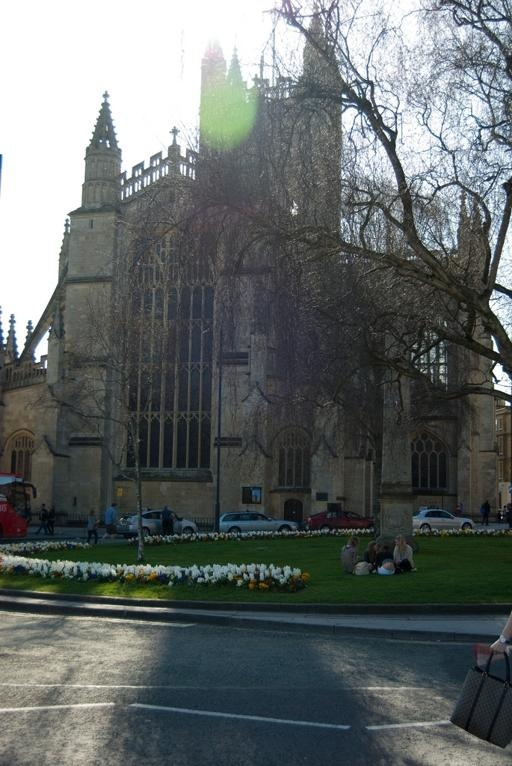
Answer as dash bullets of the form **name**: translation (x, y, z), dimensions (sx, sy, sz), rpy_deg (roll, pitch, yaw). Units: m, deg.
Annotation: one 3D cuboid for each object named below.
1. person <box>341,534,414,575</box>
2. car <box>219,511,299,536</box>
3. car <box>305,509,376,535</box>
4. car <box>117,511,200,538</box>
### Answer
- **person**: translation (2.284, 3.348, 18.044), dimensions (1.017, 0.561, 0.838), rpy_deg (2, -5, -2)
- **car**: translation (-0.053, 5.788, 39.087), dimensions (2.733, 1.051, 1.258), rpy_deg (-1, -3, -1)
- **car**: translation (3.438, 5.823, 40.123), dimensions (2.557, 0.987, 1.218), rpy_deg (-2, 0, -13)
- **car**: translation (-4.116, 5.719, 38.411), dimensions (3.233, 1.032, 1.751), rpy_deg (7, -10, -41)
